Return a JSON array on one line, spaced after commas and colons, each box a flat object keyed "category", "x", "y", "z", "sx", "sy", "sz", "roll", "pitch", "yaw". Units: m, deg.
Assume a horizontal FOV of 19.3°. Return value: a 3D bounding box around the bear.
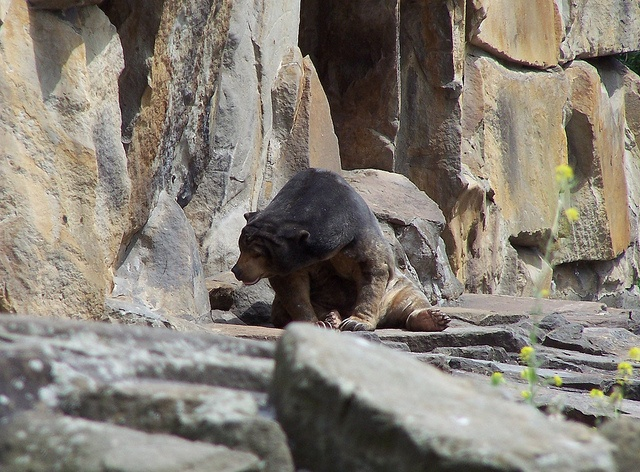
[{"category": "bear", "x": 0.220, "y": 0.252, "z": 21.270, "sx": 1.661, "sy": 1.419, "sz": 2.091, "roll": -16, "pitch": -15, "yaw": 37}]
